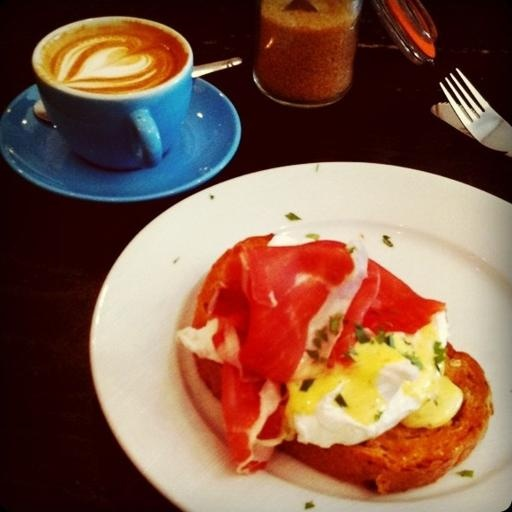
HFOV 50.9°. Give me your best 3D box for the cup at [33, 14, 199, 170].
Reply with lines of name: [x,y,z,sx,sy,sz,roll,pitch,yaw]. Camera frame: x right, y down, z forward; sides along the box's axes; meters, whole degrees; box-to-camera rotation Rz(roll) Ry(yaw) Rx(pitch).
cup: [-0.407,-0.506,1.532,0.370,0.303,0.494,-11,52,-18]

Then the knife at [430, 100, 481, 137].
knife: [0.665,-0.457,1.783,0.052,0.022,0.219,-15,56,-9]
